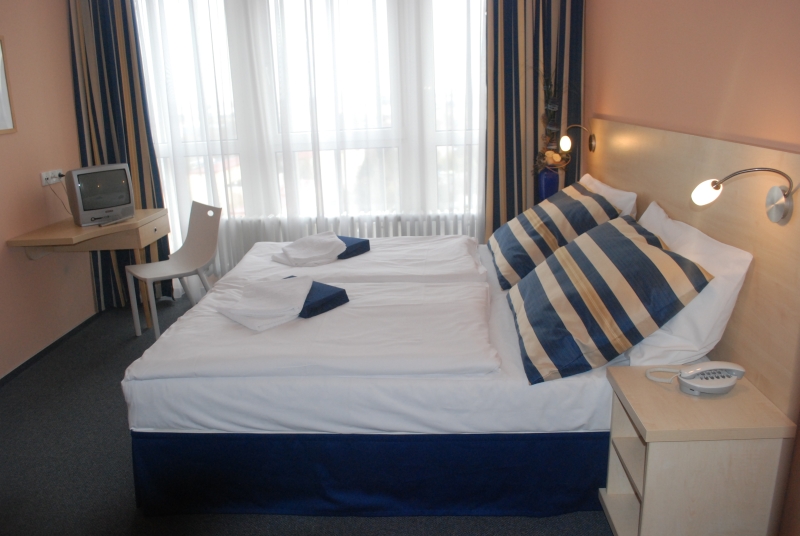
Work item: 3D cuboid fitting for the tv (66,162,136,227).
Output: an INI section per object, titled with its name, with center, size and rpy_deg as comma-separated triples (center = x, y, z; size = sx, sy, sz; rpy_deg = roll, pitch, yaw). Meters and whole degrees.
[tv]
center = -2.521, -0.637, 4.878
size = 0.290, 0.480, 0.510
rpy_deg = 10, 21, 30

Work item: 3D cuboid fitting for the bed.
[bed]
center = 0.414, 0.490, 3.204
size = 2.320, 1.211, 2.374
rpy_deg = 2, 21, 4

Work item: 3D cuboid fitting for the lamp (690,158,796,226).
[lamp]
center = 1.582, -0.373, 2.703
size = 0.379, 0.226, 0.213
rpy_deg = 17, 33, 21

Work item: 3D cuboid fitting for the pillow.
[pillow]
center = 1.118, 0.029, 3.399
size = 1.047, 0.647, 1.265
rpy_deg = -3, 20, -3

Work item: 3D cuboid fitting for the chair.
[chair]
center = -1.945, 0.019, 5.056
size = 0.709, 1.068, 0.590
rpy_deg = -12, 19, -40

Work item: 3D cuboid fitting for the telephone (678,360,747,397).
[telephone]
center = 1.445, 0.497, 2.702
size = 0.213, 0.073, 0.173
rpy_deg = -15, 23, 8
